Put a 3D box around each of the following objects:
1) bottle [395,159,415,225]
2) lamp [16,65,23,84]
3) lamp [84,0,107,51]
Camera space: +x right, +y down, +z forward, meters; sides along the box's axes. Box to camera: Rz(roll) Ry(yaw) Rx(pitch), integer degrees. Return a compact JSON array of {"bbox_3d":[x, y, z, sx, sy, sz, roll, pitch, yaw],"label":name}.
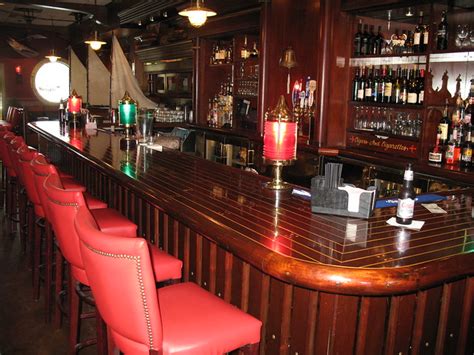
[{"bbox_3d":[0.841,0.076,1.892,0.078,0.294,0.174,8,15,25],"label":"bottle"},{"bbox_3d":[-7.226,-3.418,12.738,0.230,0.598,0.082,-8,16,-33],"label":"lamp"},{"bbox_3d":[-3.073,-3.120,8.326,0.402,0.666,0.374,-1,8,-15],"label":"lamp"}]
